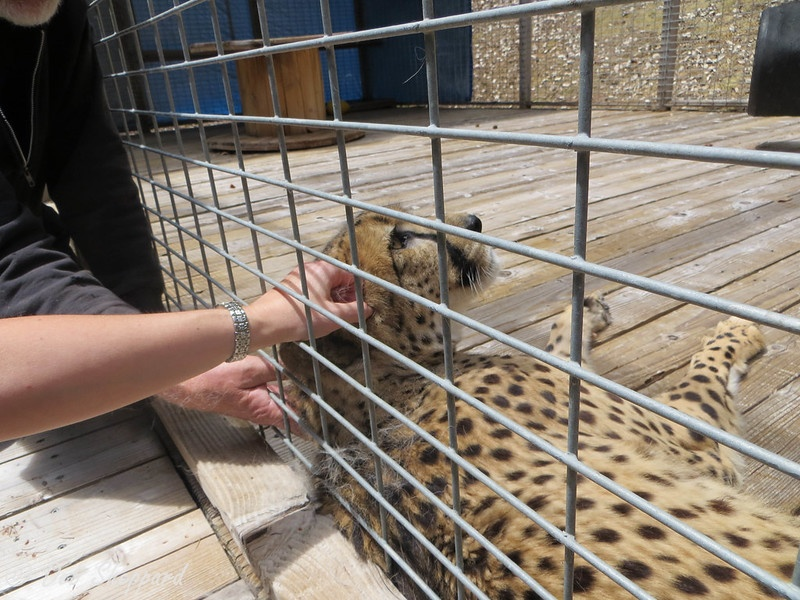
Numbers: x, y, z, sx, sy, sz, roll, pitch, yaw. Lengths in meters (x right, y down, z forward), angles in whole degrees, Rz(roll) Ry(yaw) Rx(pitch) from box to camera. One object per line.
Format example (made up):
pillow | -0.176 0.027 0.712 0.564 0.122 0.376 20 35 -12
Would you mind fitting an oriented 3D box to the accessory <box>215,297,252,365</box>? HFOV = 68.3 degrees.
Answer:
accessory | -0.439 0.091 1.578 0.082 0.167 0.139 -14 30 -16
